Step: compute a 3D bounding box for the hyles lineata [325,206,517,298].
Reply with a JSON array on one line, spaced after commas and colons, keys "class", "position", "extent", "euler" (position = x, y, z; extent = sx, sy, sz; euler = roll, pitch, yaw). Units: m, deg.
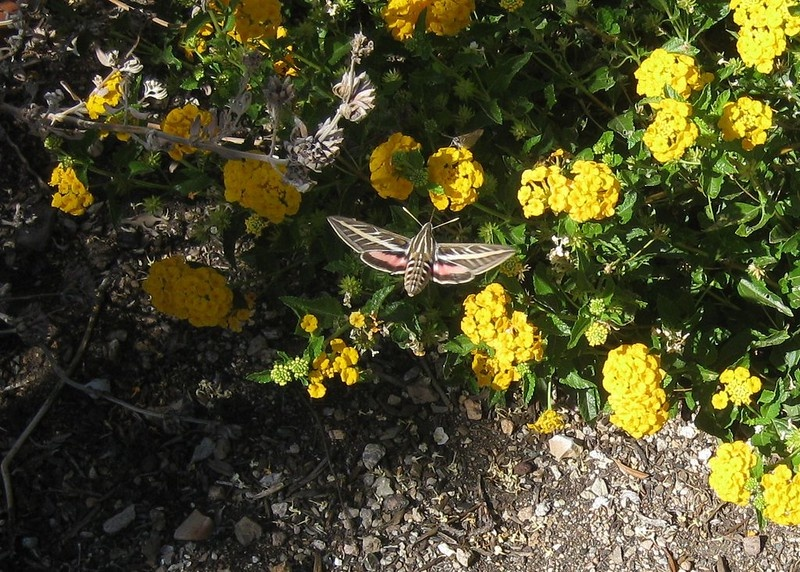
[{"class": "hyles lineata", "position": [0.092, -0.134, 3.133], "extent": [0.727, 0.176, 0.379], "euler": [11, 67, 4]}]
